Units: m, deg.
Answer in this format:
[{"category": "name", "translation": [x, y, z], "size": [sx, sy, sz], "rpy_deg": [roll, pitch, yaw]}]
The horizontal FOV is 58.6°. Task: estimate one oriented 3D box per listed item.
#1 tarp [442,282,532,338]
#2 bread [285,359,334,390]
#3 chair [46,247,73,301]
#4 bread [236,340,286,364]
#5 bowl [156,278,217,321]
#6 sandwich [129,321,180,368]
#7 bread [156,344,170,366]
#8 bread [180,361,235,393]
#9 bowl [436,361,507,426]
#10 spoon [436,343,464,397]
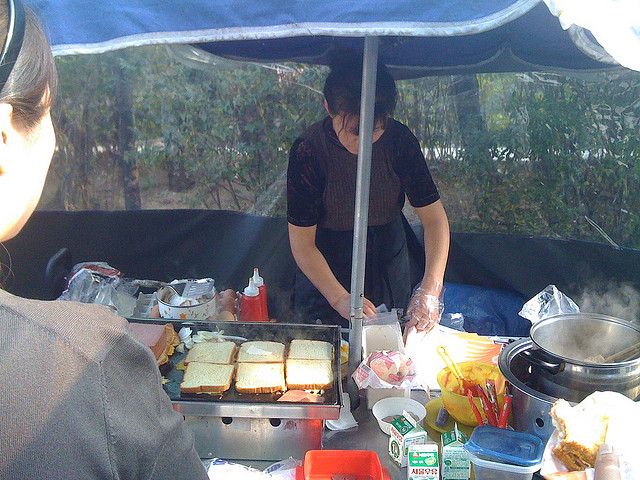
[{"category": "tarp", "translation": [1.350, 0.588, 4.677], "size": [0.692, 0.366, 0.512], "rpy_deg": [1, 6, 18]}, {"category": "bread", "translation": [-0.042, 0.552, 2.354], "size": [0.194, 0.082, 0.157], "rpy_deg": [-1, 6, -3]}, {"category": "chair", "translation": [-1.819, 0.251, 3.981], "size": [0.112, 0.372, 0.144], "rpy_deg": [20, -14, -6]}, {"category": "bread", "translation": [-0.253, 0.489, 2.474], "size": [0.192, 0.061, 0.182], "rpy_deg": [-1, 6, 0]}, {"category": "bowl", "translation": [-0.702, 0.322, 2.964], "size": [0.251, 0.100, 0.218], "rpy_deg": [1, 16, 3]}, {"category": "sandwich", "translation": [-0.722, 0.461, 2.472], "size": [0.196, 0.082, 0.171], "rpy_deg": [7, 26, 15]}, {"category": "bread", "translation": [-0.666, 0.492, 2.434], "size": [0.015, 0.066, 0.066], "rpy_deg": [17, 15, 2]}, {"category": "bread", "translation": [-0.459, 0.559, 2.337], "size": [0.203, 0.088, 0.143], "rpy_deg": [-1, 6, -1]}, {"category": "bowl", "translation": [0.604, 0.563, 2.301], "size": [0.224, 0.160, 0.229], "rpy_deg": [-4, 9, 1]}, {"category": "spoon", "translation": [0.546, 0.535, 2.383], "size": [0.054, 0.034, 0.258], "rpy_deg": [-13, 52, 1]}]
